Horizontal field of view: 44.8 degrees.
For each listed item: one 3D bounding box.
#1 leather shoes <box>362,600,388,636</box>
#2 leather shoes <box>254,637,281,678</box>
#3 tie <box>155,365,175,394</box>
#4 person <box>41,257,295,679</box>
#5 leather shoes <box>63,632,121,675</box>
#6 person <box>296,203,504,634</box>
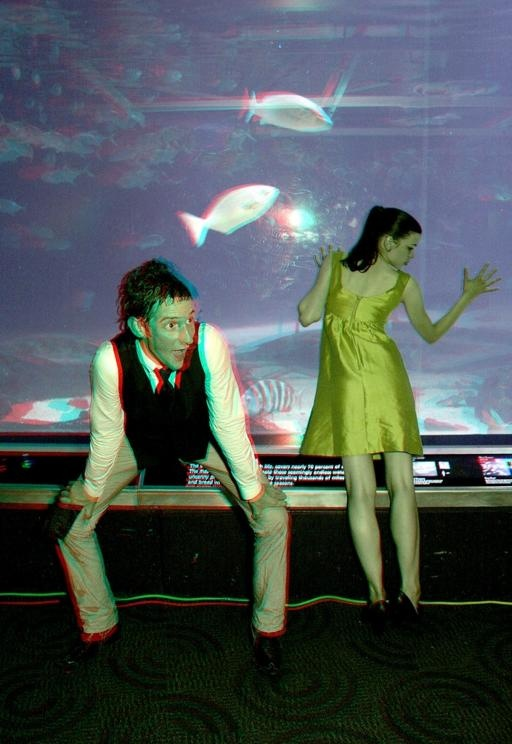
[{"bbox_3d":[0.330,0.714,1.810,0.053,0.059,0.148,0,-2,1],"label":"leather shoes"},{"bbox_3d":[0.023,0.780,1.701,0.047,0.048,0.131,1,-3,-11],"label":"leather shoes"},{"bbox_3d":[-0.230,0.016,1.552,0.045,0.062,0.016,1,12,-7],"label":"tie"},{"bbox_3d":[-0.248,0.261,1.714,0.658,1.018,0.551,-3,16,-10],"label":"person"},{"bbox_3d":[-0.459,0.795,1.754,0.052,0.061,0.154,0,-3,31],"label":"leather shoes"},{"bbox_3d":[0.369,0.092,1.975,0.488,1.194,0.481,8,13,42],"label":"person"}]
